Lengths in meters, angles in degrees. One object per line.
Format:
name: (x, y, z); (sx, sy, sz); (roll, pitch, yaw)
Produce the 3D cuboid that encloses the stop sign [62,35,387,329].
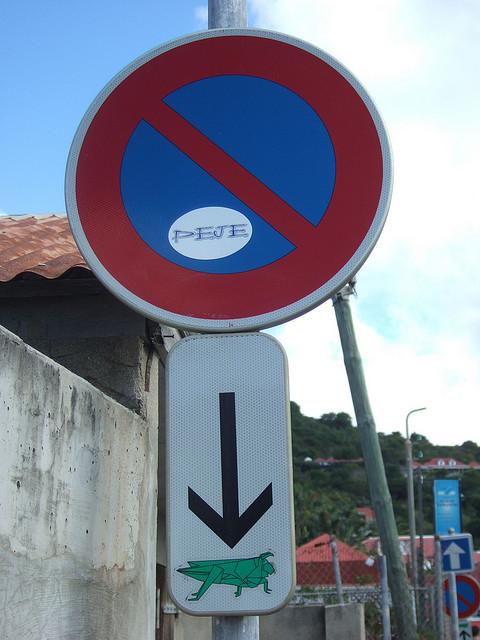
stop sign: (-0.042, -0.551, 4.294); (1.244, 1.253, 0.053); (-1, -12, 14)
